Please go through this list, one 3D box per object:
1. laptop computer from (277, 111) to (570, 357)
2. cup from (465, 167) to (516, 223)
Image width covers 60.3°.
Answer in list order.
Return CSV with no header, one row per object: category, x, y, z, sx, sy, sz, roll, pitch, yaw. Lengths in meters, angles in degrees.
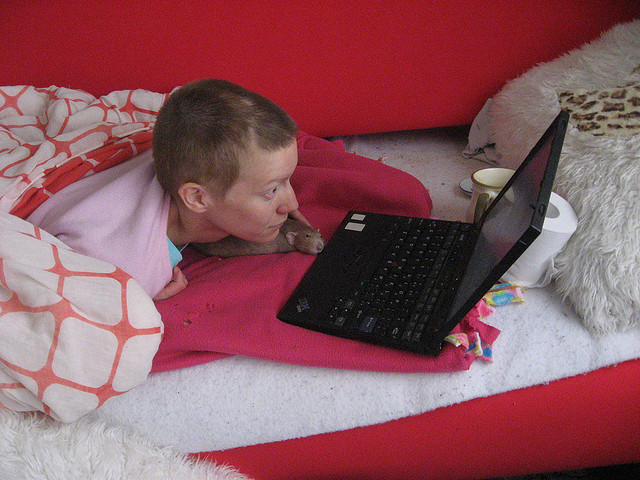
laptop computer,0.146,0.057,1.154,0.541,0.349,0.491,15,46,22
cup,0.366,-0.111,1.219,0.090,0.089,0.135,14,43,26
